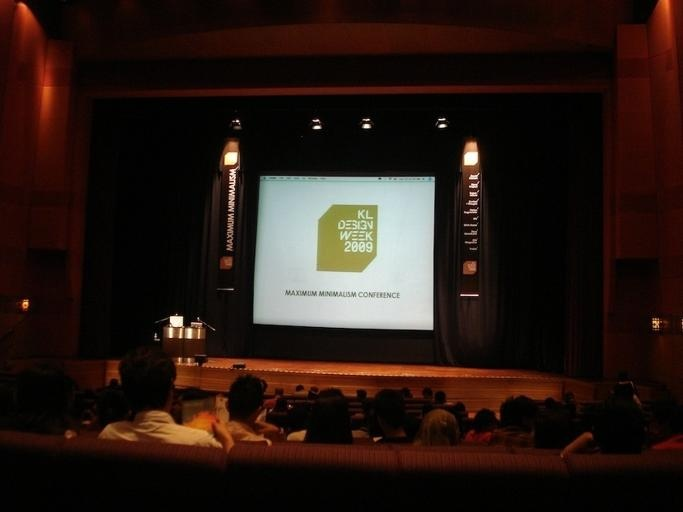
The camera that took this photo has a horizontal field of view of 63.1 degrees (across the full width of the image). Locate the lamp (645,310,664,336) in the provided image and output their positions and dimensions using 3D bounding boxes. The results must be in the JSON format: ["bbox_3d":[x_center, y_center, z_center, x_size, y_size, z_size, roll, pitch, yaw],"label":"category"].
[{"bbox_3d":[3.762,0.811,6.646,0.156,0.306,0.226,0,0,9],"label":"lamp"}]
